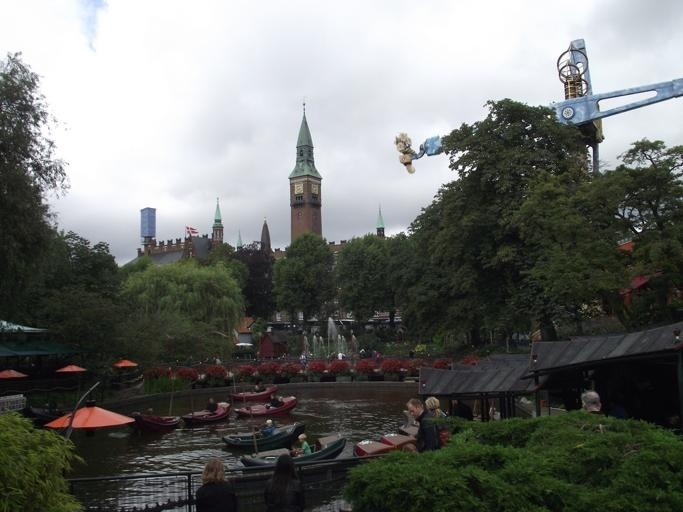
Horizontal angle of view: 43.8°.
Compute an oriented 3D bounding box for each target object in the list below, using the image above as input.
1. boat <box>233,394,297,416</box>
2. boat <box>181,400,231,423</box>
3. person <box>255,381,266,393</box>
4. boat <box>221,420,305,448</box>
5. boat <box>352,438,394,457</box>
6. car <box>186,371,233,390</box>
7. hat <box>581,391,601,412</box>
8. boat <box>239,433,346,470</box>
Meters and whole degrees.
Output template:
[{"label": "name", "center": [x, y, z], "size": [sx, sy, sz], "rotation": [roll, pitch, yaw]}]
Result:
[{"label": "boat", "center": [-4.066, 8.227, 46.288], "size": [2.923, 1.019, 3.303], "rotation": [-2, -8, 7]}, {"label": "boat", "center": [-6.849, 8.164, 44.240], "size": [0.909, 0.706, 2.383], "rotation": [-1, -3, 30]}, {"label": "person", "center": [-5.148, 8.159, 53.177], "size": [0.511, 0.652, 1.214], "rotation": [0, -7, 12]}, {"label": "boat", "center": [-3.426, 8.028, 37.705], "size": [3.874, 1.283, 1.635], "rotation": [-8, -5, -14]}, {"label": "boat", "center": [1.239, 7.416, 32.730], "size": [1.335, 0.468, 2.154], "rotation": [-1, -8, -2]}, {"label": "car", "center": [-8.523, 7.866, 55.218], "size": [2.740, 1.350, 1.587], "rotation": [1, -8, -13]}, {"label": "hat", "center": [7.532, 4.400, 25.685], "size": [0.492, 0.627, 0.890], "rotation": [-3, -8, 13]}, {"label": "boat", "center": [-1.730, 7.795, 33.488], "size": [4.441, 1.415, 2.215], "rotation": [-1, -14, -23]}]
